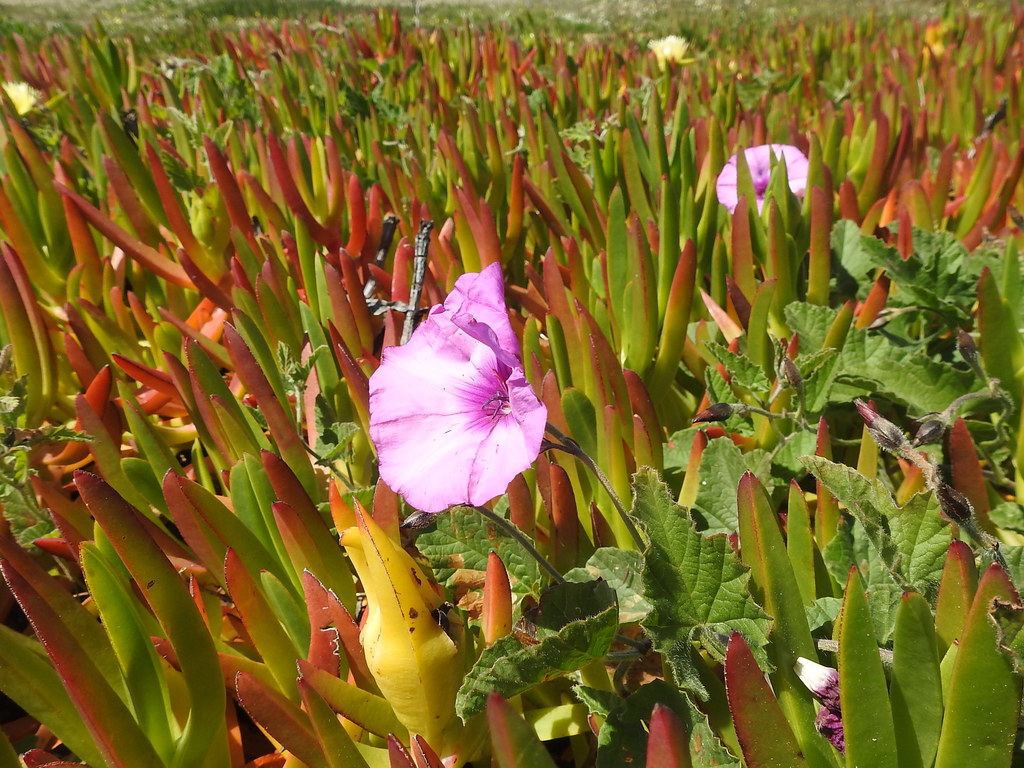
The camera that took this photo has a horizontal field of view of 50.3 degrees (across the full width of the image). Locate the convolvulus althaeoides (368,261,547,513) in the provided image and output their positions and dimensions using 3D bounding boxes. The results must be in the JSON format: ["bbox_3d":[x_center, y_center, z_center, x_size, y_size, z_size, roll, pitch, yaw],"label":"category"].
[{"bbox_3d":[-0.099,-0.001,1.711,0.259,0.297,0.327,-8,27,-10],"label":"convolvulus althaeoides"}]
